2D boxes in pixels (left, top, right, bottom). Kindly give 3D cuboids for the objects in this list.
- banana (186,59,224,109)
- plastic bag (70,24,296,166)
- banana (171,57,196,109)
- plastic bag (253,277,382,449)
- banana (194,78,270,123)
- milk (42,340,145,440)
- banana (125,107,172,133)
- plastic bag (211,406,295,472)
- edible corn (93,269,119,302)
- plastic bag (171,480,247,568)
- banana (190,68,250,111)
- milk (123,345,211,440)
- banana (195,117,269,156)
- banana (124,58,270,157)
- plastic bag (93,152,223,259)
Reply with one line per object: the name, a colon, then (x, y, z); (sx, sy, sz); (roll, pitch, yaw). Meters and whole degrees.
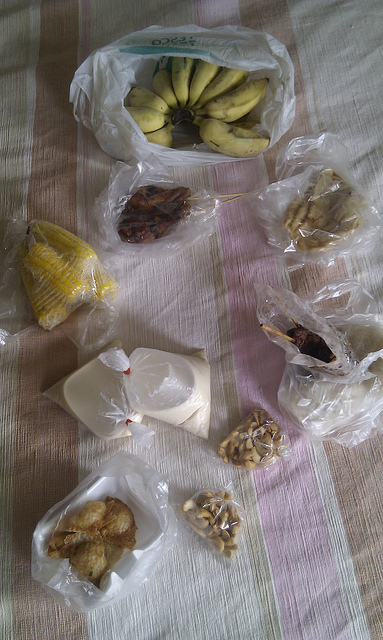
banana: (0.012, -0.412, 0.991); (0.109, 0.038, 0.029); (-57, 25, 11)
plastic bag: (-0.014, -0.415, 1.027); (0.382, 0.248, 0.144); (-4, 17, 4)
banana: (-0.019, -0.414, 0.957); (0.034, 0.026, 0.097); (4, 76, 1)
plastic bag: (0.226, 0.068, 0.910); (0.199, 0.188, 0.255); (-11, 60, 2)
banana: (0.067, -0.391, 0.969); (0.132, 0.044, 0.051); (-28, 92, -1)
milk: (-0.143, 0.111, 0.860); (0.158, 0.053, 0.152); (-42, 89, -7)
banana: (-0.081, -0.352, 0.962); (0.051, 0.017, 0.062); (-18, 39, -13)
plastic bag: (0.108, 0.200, 0.974); (0.117, 0.098, 0.152); (-8, 46, -10)
edible corn: (-0.152, -0.059, 0.954); (0.018, 0.048, 0.042); (13, 37, 40)
plastic bag: (0.038, 0.329, 0.953); (0.115, 0.114, 0.127); (23, 50, 18)
banana: (0.050, -0.406, 0.960); (0.086, 0.024, 0.034); (-37, 17, 20)
milk: (-0.032, 0.113, 0.943); (0.146, 0.049, 0.137); (7, 92, 4)
banana: (0.068, -0.327, 0.989); (0.140, 0.053, 0.066); (8, 18, -13)
banana: (0.015, -0.376, 0.981); (0.221, 0.066, 0.168); (13, 95, -2)
plastic bag: (-0.078, -0.167, 1.029); (0.187, 0.078, 0.206); (9, 77, -5)
